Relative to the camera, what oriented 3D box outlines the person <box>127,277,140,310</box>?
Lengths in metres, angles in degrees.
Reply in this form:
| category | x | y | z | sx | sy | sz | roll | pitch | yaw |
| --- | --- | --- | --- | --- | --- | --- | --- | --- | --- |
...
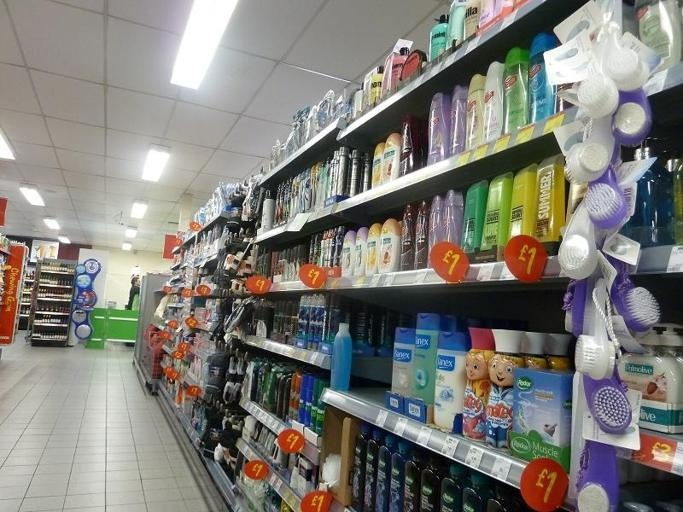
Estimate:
| category | x | y | z | sx | sy | sz | roll | pitch | yaw |
| --- | --- | --- | --- | --- | --- | --- | --- | --- | --- |
| person | -6.653 | 1.131 | 13.522 | 0.321 | 1.116 | 1.480 | 7 | -10 | -26 |
